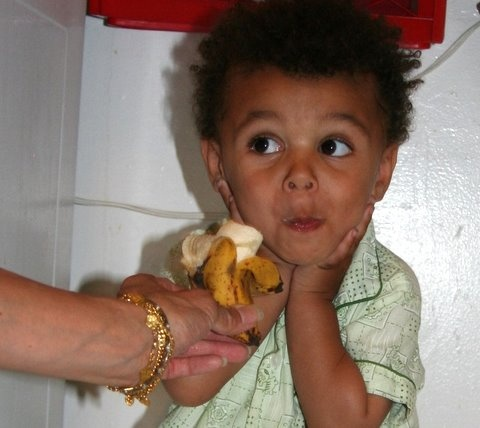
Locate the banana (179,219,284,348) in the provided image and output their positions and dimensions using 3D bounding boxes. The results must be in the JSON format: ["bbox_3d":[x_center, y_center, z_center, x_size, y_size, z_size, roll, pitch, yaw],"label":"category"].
[{"bbox_3d":[-0.012,0.113,1.000,0.096,0.231,0.160,-1,-13,-45],"label":"banana"}]

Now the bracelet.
[{"bbox_3d":[-0.148,0.208,0.806,0.054,0.123,0.154,-6,-39,-35],"label":"bracelet"}]
